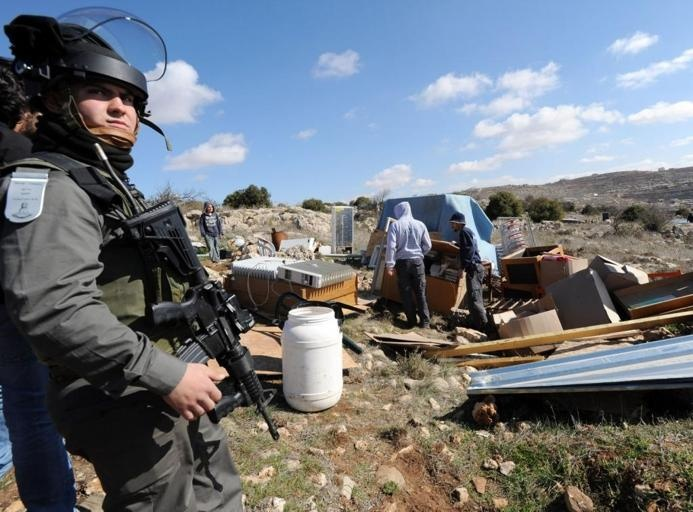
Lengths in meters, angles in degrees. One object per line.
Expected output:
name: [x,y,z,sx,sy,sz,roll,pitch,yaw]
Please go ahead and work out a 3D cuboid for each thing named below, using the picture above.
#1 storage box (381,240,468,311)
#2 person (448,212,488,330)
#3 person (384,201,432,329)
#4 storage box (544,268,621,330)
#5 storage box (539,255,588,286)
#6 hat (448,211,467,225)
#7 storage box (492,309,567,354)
storage box: [1.490,0.347,7.329,0.692,1.203,1.260,-5,9,-45]
person: [2.131,0.212,6.912,0.793,1.781,1.148,6,15,13]
person: [1.143,0.269,7.085,0.921,1.827,0.616,9,16,22]
storage box: [3.432,0.643,5.757,0.569,0.558,1.075,-23,-11,38]
storage box: [3.803,0.191,7.098,0.731,0.538,0.744,5,10,38]
hat: [1.990,-0.663,7.190,0.289,0.183,0.299,-2,11,-4]
storage box: [2.527,0.958,5.380,0.554,0.376,0.570,-21,-4,6]
